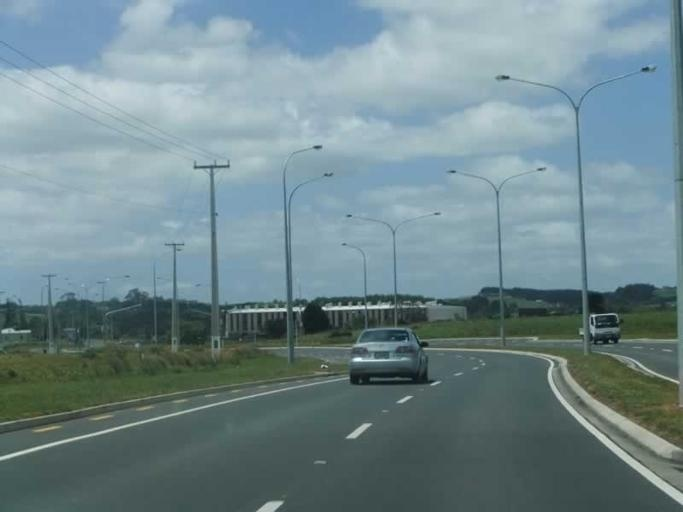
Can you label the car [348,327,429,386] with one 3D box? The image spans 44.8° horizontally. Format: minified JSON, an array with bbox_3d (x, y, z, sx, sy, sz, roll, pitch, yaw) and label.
[{"bbox_3d":[1.575,3.060,25.705,1.923,1.807,2.532,-9,-9,40],"label":"car"}]
